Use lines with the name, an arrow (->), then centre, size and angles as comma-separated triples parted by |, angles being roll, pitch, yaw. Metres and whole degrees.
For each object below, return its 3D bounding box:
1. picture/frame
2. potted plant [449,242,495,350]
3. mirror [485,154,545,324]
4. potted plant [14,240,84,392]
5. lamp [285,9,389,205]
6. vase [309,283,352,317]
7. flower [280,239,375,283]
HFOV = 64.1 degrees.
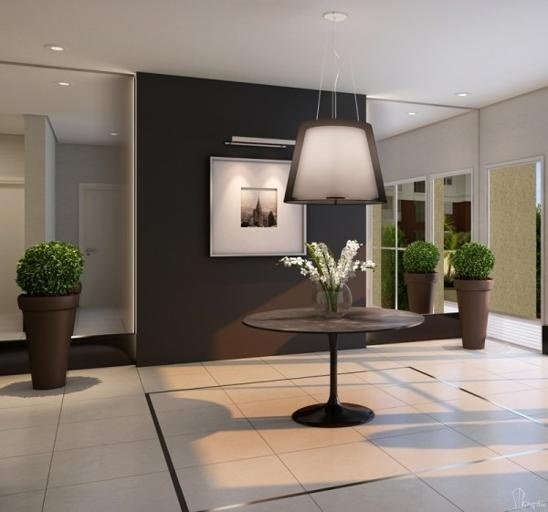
picture/frame -> -0.237, -0.543, 4.618 | 1.029, 1.092, 0.039 | 0, -2, -22
potted plant -> 2.512, 0.454, 5.409 | 0.441, 1.175, 0.512 | -3, -3, -1
mirror -> 3.027, -0.197, 5.549 | 0.101, 1.455, 0.740 | 0, 0, -17
potted plant -> -1.960, 0.522, 3.846 | 0.514, 1.426, 0.316 | -1, 0, -31
lamp -> 0.377, -0.994, 2.897 | 0.663, 1.372, 0.691 | -1, 1, -14
vase -> 0.419, 0.321, 3.174 | 0.211, 0.224, 0.226 | 0, -3, 0
flower -> 0.450, 0.111, 3.196 | 0.507, 0.371, 0.612 | -11, 1, 19
